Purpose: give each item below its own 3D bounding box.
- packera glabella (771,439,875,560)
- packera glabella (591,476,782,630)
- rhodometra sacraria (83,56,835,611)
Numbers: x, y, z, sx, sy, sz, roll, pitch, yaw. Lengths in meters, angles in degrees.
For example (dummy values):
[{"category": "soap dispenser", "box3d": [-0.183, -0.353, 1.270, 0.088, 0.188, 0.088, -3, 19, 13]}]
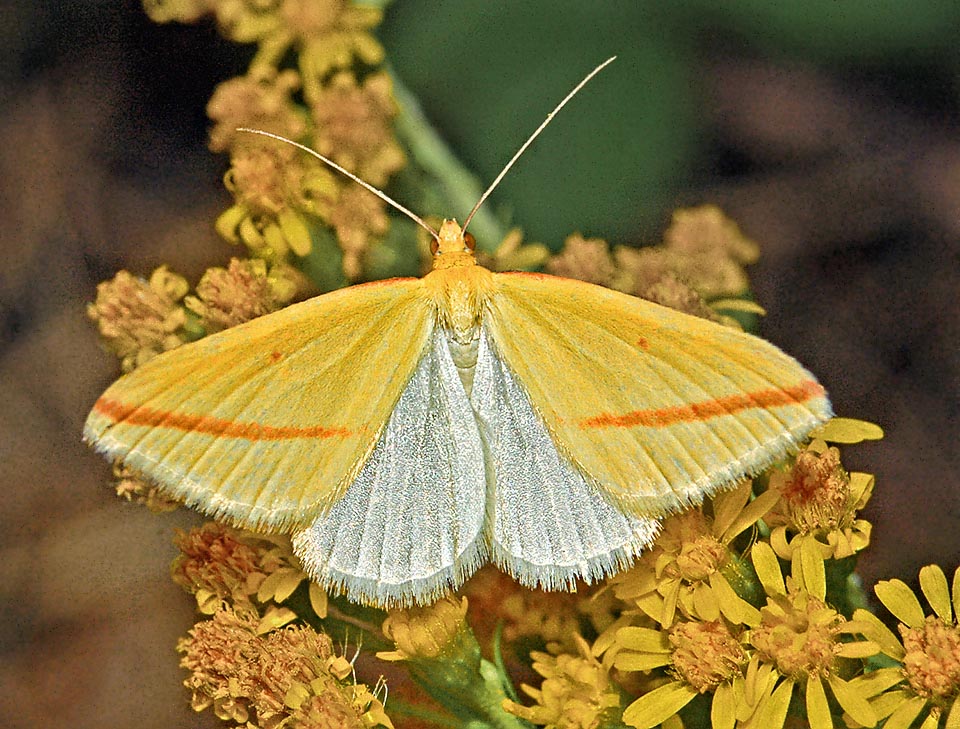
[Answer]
[{"category": "packera glabella", "box3d": [0.806, 0.324, 2.958, 0.290, 0.309, 0.135, -10, 22, 43]}, {"category": "packera glabella", "box3d": [0.531, 0.462, 2.922, 0.410, 0.340, 0.142, -21, -21, 15]}, {"category": "rhodometra sacraria", "box3d": [-0.054, 0.010, 3.058, 1.774, 1.514, 0.445, -2, -3, 2]}]
